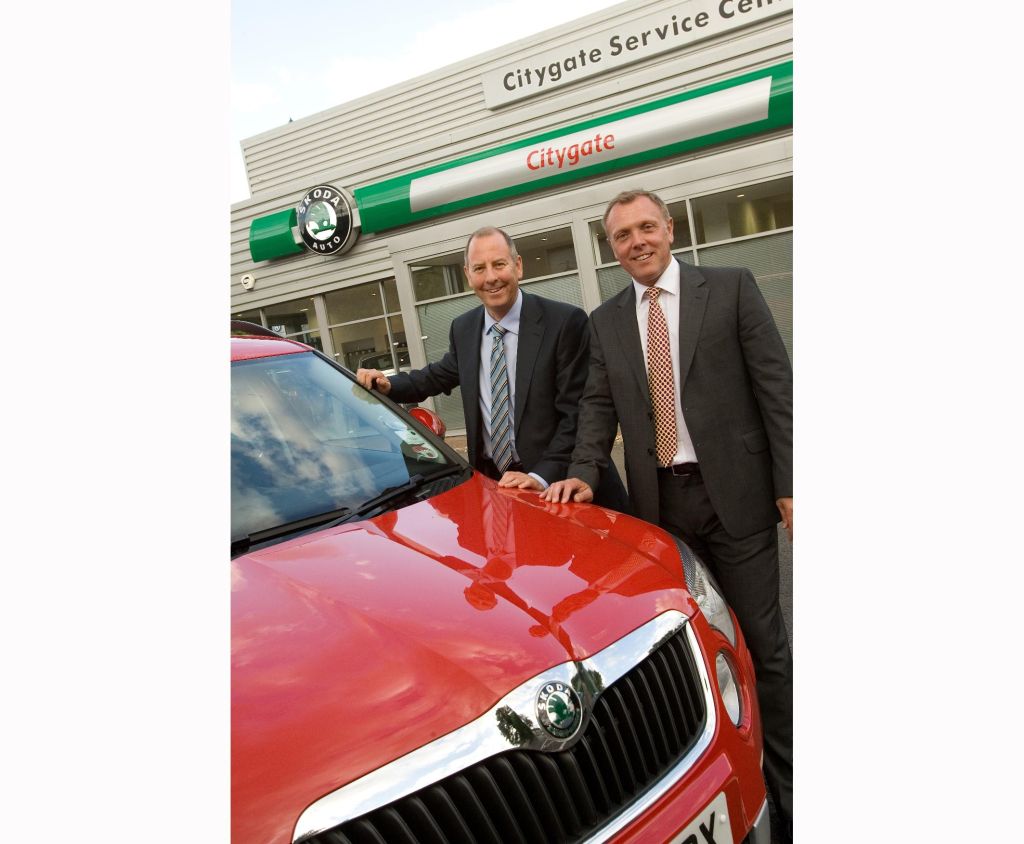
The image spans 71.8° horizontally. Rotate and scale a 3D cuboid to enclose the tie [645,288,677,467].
[{"bbox_3d":[0.535,-0.169,2.607,0.104,0.633,0.067,-7,-9,25],"label":"tie"}]
